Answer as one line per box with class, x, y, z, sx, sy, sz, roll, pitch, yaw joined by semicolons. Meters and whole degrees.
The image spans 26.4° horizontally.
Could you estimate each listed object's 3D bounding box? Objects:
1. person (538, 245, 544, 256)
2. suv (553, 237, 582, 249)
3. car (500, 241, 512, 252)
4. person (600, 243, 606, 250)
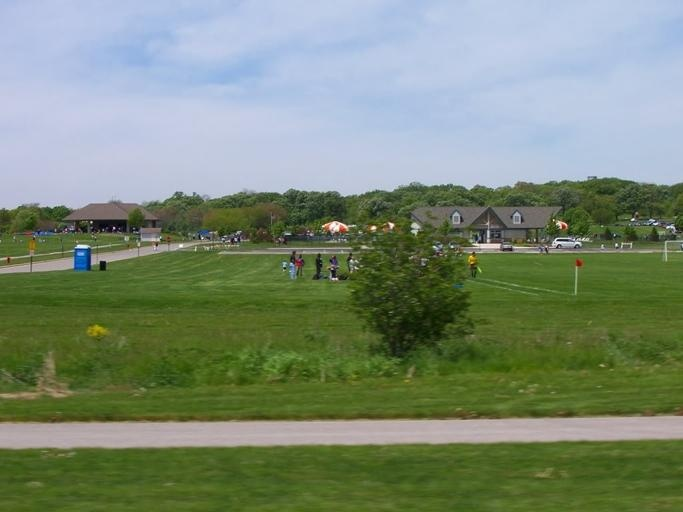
person;19.809;-0.548;144.233;0.399;0.666;1.387;-7;-33;13
suv;24.340;-1.367;156.570;3.102;0.862;1.260;-1;5;9
car;16.794;-0.962;147.867;1.141;0.691;1.733;0;-2;3
person;28.602;-1.109;158.865;0.460;0.623;0.788;4;-1;11
